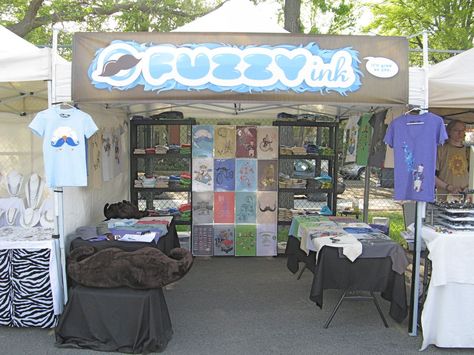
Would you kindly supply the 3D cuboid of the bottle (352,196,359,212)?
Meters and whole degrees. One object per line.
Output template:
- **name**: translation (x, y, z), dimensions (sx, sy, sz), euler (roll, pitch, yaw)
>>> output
- **bottle**: translation (2.497, 0.560, 9.572), dimensions (0.109, 0.241, 0.379), euler (4, 10, 8)

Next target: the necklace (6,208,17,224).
- **necklace**: translation (-3.546, 0.615, 7.094), dimensions (0.165, 0.224, 0.071), euler (1, -11, 8)

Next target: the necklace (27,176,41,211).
- **necklace**: translation (-3.231, 0.216, 7.169), dimensions (0.200, 0.508, 0.285), euler (-1, 11, -18)

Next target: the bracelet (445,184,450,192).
- **bracelet**: translation (3.429, 0.161, 7.367), dimensions (0.062, 0.096, 0.085), euler (2, -1, 29)

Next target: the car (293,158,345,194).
- **car**: translation (2.760, -0.051, 14.242), dimensions (1.882, 1.006, 1.053), euler (-2, 4, 0)

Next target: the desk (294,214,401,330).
- **desk**: translation (1.663, 1.282, 7.393), dimensions (1.339, 1.005, 2.200), euler (-1, 9, -4)

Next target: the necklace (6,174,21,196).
- **necklace**: translation (-3.624, 0.120, 7.393), dimensions (0.249, 0.413, 0.195), euler (-4, -4, -12)

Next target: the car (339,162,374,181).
- **car**: translation (4.599, -0.224, 18.195), dimensions (1.277, 0.625, 1.922), euler (3, 5, 23)

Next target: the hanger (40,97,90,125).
- **hanger**: translation (-2.391, -0.904, 6.218), dimensions (0.720, 0.244, 0.212), euler (-1, 10, -16)

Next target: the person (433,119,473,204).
- **person**: translation (3.605, -0.275, 7.395), dimensions (0.677, 1.317, 0.455), euler (-4, 12, -29)
